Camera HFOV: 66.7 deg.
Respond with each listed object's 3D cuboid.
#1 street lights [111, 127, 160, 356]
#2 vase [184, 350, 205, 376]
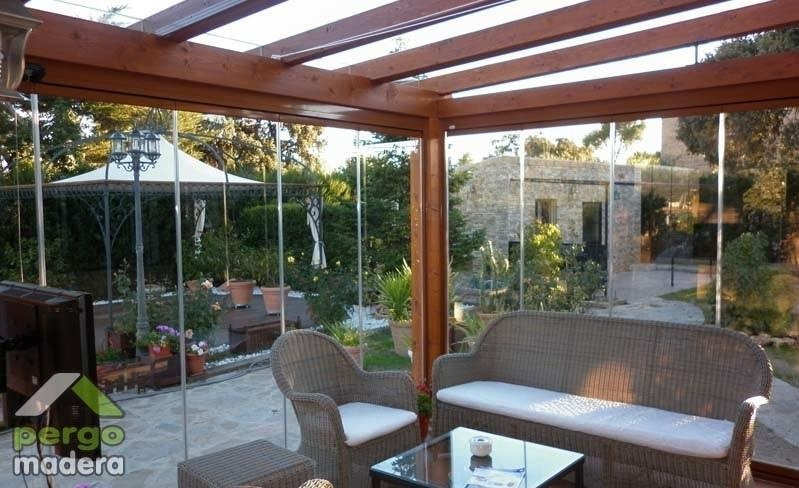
[{"bbox_3d":[-2.585,-0.078,6.024,0.449,2.104,0.100,-3,4,-26],"label":"street lights"},{"bbox_3d":[-2.129,1.246,6.333,0.213,0.185,0.216,-2,-2,23],"label":"vase"}]
